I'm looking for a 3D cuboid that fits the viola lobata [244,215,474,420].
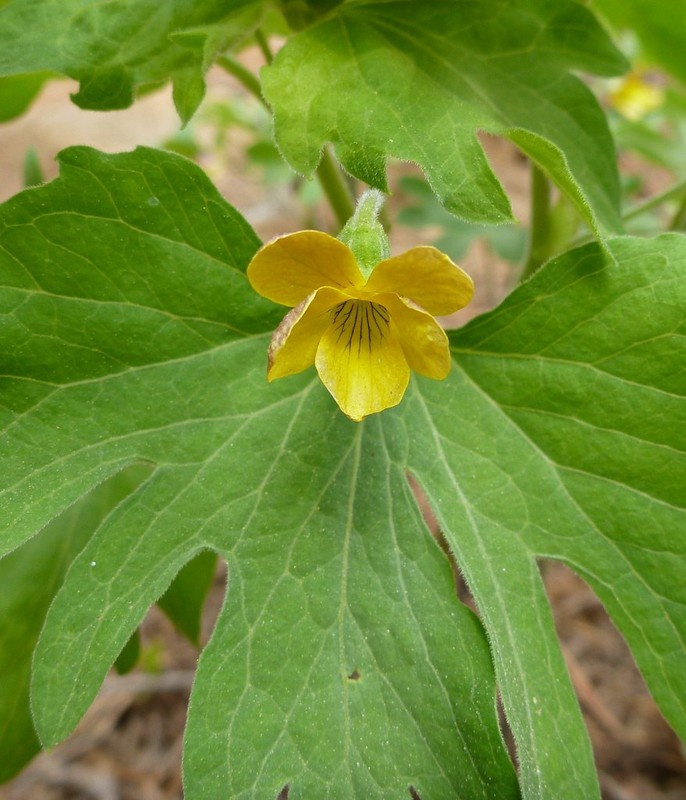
[{"bbox_3d":[0.027,-0.116,1.153,0.292,0.267,0.135,-10,33,-4],"label":"viola lobata"}]
